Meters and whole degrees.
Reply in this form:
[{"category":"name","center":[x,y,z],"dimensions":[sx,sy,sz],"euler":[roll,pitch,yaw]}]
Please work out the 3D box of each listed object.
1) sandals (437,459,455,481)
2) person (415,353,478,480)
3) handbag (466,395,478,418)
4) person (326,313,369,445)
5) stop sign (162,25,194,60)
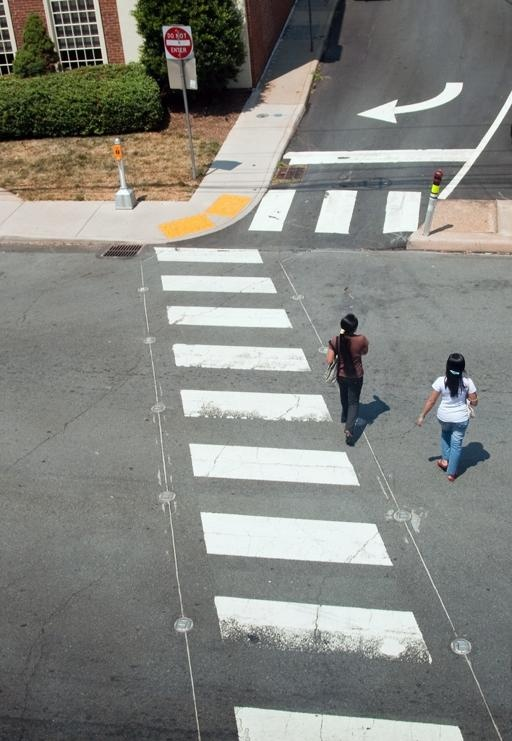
[{"category":"sandals","center":[1.882,0.977,6.957],"dimensions":[0.076,0.085,0.218],"euler":[-13,51,9]},{"category":"person","center":[1.833,0.418,6.634],"dimensions":[0.577,1.280,0.395],"euler":[-4,26,1]},{"category":"handbag","center":[2.058,0.329,6.697],"dimensions":[0.149,0.266,0.182],"euler":[-3,74,11]},{"category":"person","center":[0.917,0.069,7.274],"dimensions":[0.383,1.426,0.416],"euler":[4,32,6]},{"category":"stop sign","center":[-1.523,-6.348,13.548],"dimensions":[0.529,0.657,0.465],"euler":[0,32,-1]}]
